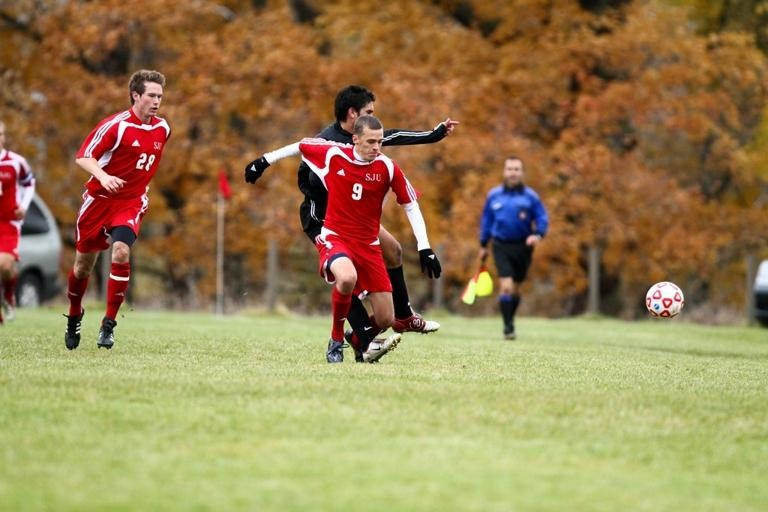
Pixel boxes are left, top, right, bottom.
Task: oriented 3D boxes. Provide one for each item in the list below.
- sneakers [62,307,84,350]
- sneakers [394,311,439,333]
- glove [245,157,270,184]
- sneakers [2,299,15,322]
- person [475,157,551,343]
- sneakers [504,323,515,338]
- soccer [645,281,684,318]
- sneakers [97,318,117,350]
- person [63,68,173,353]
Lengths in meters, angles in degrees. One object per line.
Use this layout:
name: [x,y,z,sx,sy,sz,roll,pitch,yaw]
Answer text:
sneakers: [-3.338,0.805,11.594,0.156,0.480,0.200,0,1,-5]
sneakers: [0.363,0.739,11.737,0.555,0.287,0.207,-2,3,-4]
glove: [-1.371,-0.914,11.448,0.201,0.322,0.136,49,-3,-13]
sneakers: [-5.206,0.765,15.004,0.097,0.306,0.129,-3,-20,-2]
person: [1.689,-0.130,14.592,0.878,2.524,1.008,3,-4,5]
sneakers: [1.599,0.974,14.082,0.131,0.243,0.186,3,-4,7]
soccer: [3.305,0.523,12.910,0.382,0.420,0.470,2,-4,18]
sneakers: [-2.984,0.861,11.588,0.134,0.405,0.218,12,-43,-26]
person: [-2.922,-0.563,11.735,0.927,3.217,1.023,5,-4,-27]
